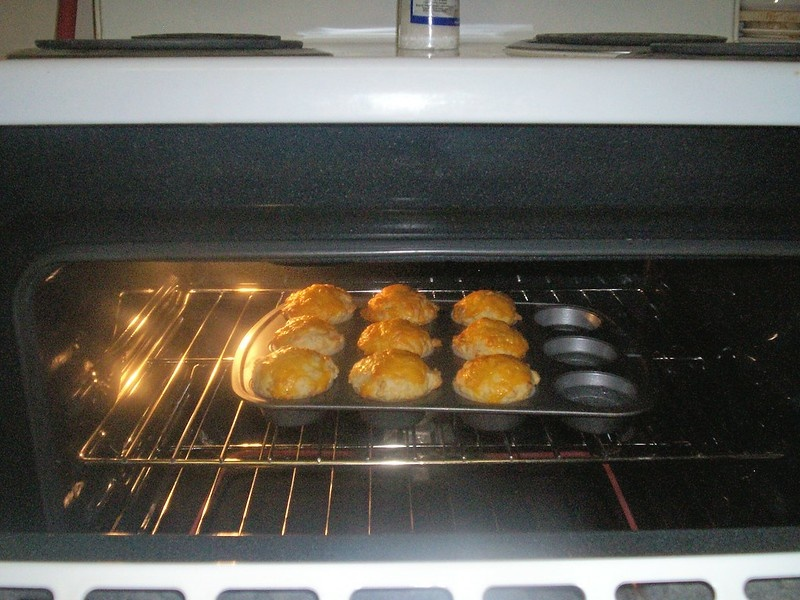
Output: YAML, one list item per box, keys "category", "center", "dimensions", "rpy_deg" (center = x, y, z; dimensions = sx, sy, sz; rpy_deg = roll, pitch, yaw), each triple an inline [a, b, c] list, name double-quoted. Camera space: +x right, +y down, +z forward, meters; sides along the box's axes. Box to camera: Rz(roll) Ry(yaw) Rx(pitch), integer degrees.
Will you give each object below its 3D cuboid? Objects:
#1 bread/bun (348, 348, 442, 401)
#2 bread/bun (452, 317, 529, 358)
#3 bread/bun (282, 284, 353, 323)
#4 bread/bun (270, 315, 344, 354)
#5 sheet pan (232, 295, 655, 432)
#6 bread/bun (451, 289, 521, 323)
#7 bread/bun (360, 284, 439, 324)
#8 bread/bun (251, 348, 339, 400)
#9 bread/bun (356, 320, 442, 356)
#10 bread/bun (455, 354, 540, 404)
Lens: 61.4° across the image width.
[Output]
- category: "bread/bun"
  center: [-0.007, 0.125, 1.184]
  dimensions: [0.166, 0.122, 0.050]
  rpy_deg: [3, -58, -2]
- category: "bread/bun"
  center: [0.167, 0.070, 1.261]
  dimensions: [0.097, 0.087, 0.029]
  rpy_deg: [6, -66, 27]
- category: "bread/bun"
  center: [-0.157, 0.008, 1.355]
  dimensions: [0.097, 0.100, 0.032]
  rpy_deg: [0, -74, -8]
- category: "bread/bun"
  center: [-0.176, 0.051, 1.262]
  dimensions: [0.093, 0.085, 0.028]
  rpy_deg: [14, -65, 29]
- category: "sheet pan"
  center: [0.065, 0.117, 1.145]
  dimensions: [0.537, 0.279, 0.067]
  rpy_deg: [0, -48, 2]
- category: "bread/bun"
  center: [0.169, 0.016, 1.341]
  dimensions: [0.086, 0.089, 0.031]
  rpy_deg: [1, -74, 7]
- category: "bread/bun"
  center: [-0.001, 0.008, 1.397]
  dimensions: [0.165, 0.159, 0.051]
  rpy_deg: [3, -72, 19]
- category: "bread/bun"
  center: [-0.189, 0.135, 1.166]
  dimensions: [0.107, 0.095, 0.030]
  rpy_deg: [8, -59, 9]
- category: "bread/bun"
  center: [-0.008, 0.064, 1.262]
  dimensions: [0.113, 0.079, 0.034]
  rpy_deg: [2, -75, 0]
- category: "bread/bun"
  center: [0.177, 0.137, 1.153]
  dimensions: [0.106, 0.092, 0.032]
  rpy_deg: [-1, -71, 4]
